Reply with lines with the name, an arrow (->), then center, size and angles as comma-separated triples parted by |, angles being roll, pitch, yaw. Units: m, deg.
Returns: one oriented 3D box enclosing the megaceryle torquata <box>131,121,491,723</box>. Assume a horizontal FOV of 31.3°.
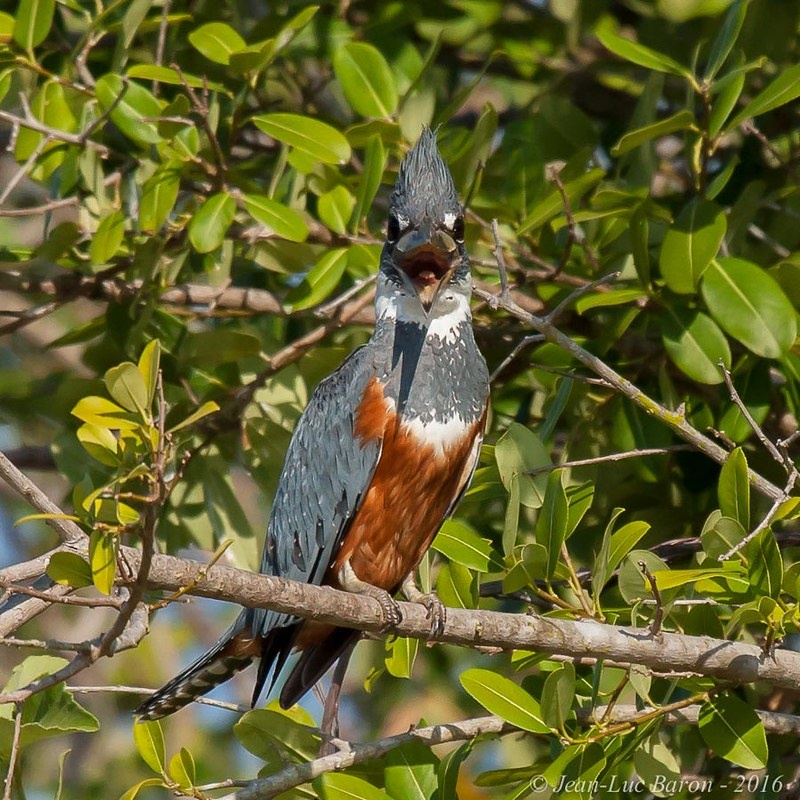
megaceryle torquata -> -0.231, 0.290, 5.103 | 0.596, 1.987, 2.061 | 7, -15, -33
